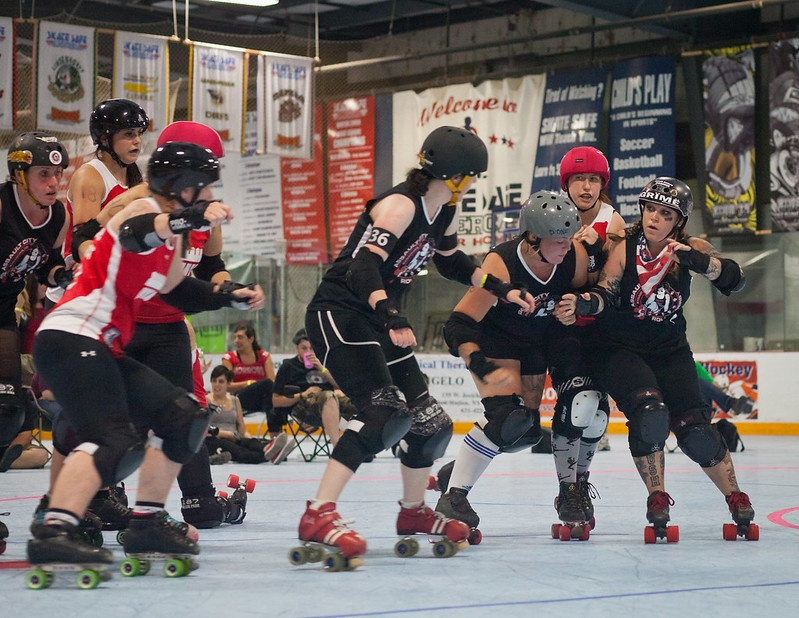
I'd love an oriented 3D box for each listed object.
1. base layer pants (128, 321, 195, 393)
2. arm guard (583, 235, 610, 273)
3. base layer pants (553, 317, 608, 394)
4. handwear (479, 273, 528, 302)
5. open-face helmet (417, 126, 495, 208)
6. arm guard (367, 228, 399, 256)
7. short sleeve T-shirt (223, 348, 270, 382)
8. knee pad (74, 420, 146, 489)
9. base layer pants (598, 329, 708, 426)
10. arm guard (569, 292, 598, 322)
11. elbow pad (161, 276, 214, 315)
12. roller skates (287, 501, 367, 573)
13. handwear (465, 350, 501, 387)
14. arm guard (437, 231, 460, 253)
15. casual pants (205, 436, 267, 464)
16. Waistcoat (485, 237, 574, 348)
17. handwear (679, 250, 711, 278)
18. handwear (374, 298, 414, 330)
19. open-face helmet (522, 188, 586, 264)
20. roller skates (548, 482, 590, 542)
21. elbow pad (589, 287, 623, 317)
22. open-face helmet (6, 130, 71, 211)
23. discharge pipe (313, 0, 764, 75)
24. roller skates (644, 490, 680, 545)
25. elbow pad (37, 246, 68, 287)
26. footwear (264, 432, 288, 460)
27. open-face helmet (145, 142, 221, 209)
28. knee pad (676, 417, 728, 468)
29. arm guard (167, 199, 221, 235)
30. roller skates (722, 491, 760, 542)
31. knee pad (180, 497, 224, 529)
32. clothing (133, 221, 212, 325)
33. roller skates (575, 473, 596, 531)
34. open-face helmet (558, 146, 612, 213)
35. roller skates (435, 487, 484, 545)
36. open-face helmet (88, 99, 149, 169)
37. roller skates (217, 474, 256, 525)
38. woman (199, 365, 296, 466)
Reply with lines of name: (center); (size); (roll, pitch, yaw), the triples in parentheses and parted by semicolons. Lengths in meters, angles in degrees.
base layer pants: (-1.420, 0.290, 6.870); (0.385, 0.508, 0.207); (-18, -31, 8)
arm guard: (1.286, -0.352, 7.546); (0.177, 0.221, 0.111); (-7, 15, -34)
base layer pants: (1.140, 0.300, 7.518); (0.380, 0.423, 0.205); (6, -12, -44)
handwear: (0.650, -0.126, 7.123); (0.151, 0.245, 0.102); (-48, -6, 40)
open-face helmet: (0.331, -0.846, 6.799); (0.486, 0.458, 0.361); (-4, 13, -7)
arm guard: (-0.092, -0.387, 6.675); (0.165, 0.102, 0.162); (27, 5, 28)
short sleeve T-shirt: (-1.863, 0.723, 14.092); (0.639, 0.544, 0.333); (1, -9, -16)
knee pad: (-1.507, 0.724, 6.002); (0.362, 0.336, 0.160); (-4, 7, -8)
base layer pants: (1.732, 0.498, 7.464); (0.483, 0.303, 0.806); (-13, 31, 41)
arm guard: (1.145, -0.022, 7.227); (0.150, 0.186, 0.101); (1, 8, -24)
elbow pad: (-1.209, -0.062, 6.521); (0.263, 0.105, 0.190); (10, 21, 5)
roller skates: (-0.379, 1.259, 6.468); (0.486, 0.334, 0.248); (-1, -9, 40)
handwear: (0.507, 0.340, 7.163); (0.088, 0.139, 0.222); (-37, -15, 2)
arm guard: (0.312, -0.417, 7.229); (0.118, 0.117, 0.116); (-1, -7, 15)
casual pants: (-1.774, 1.490, 12.423); (0.634, 0.183, 0.362); (11, -3, -39)
Waistcoat: (0.826, -0.114, 7.340); (0.560, 0.591, 0.347); (14, 20, -45)
handwear: (1.843, -0.297, 7.223); (0.197, 0.085, 0.145); (29, -7, -35)
handwear: (-0.047, 0.024, 6.522); (0.184, 0.157, 0.299); (0, 4, -2)
open-face helmet: (0.970, -0.503, 7.296); (0.460, 0.422, 0.358); (10, 24, 33)
roller skates: (1.116, 1.273, 7.363); (0.270, 0.304, 0.363); (1, 4, 9)
elbow pad: (1.318, -0.046, 7.294); (0.168, 0.101, 0.207); (10, 4, 36)
open-face helmet: (-2.292, -0.884, 7.351); (0.464, 0.482, 0.386); (-1, -2, 15)
discharge pipe: (2.223, -4.197, 17.899); (7.208, 0.774, 1.994); (3, 5, 34)
roller skates: (1.674, 1.292, 7.356); (0.216, 0.300, 0.519); (-3, -1, 13)
elbow pad: (-2.200, -0.295, 7.382); (0.189, 0.123, 0.327); (-16, 37, -30)
footwear: (-1.339, 1.481, 12.404); (0.304, 0.329, 0.206); (2, 4, 15)
open-face helmet: (-1.228, -0.752, 6.387); (0.441, 0.377, 0.327); (-8, 32, -34)
knee pad: (1.935, 0.849, 7.367); (0.270, 0.180, 0.337); (0, 17, -3)
arm guard: (-1.085, -0.464, 6.010); (0.223, 0.097, 0.167); (-19, -1, 14)
roller skates: (2.204, 1.328, 7.416); (0.206, 0.325, 0.551); (-1, -10, 3)
knee pad: (-1.301, 1.312, 7.547); (0.153, 0.137, 0.319); (0, -1, 18)
clothing: (-1.289, -0.203, 6.413); (0.467, 0.571, 0.320); (10, -14, 14)
roller skates: (1.233, 1.239, 7.526); (0.130, 0.342, 0.160); (-7, -36, 5)
open-face helmet: (1.242, -0.902, 7.907); (0.329, 0.405, 0.418); (1, -11, -13)
roller skates: (0.388, 1.264, 7.221); (0.163, 0.256, 0.447); (3, 4, -43)
open-face helmet: (-1.805, -1.090, 7.203); (0.404, 0.413, 0.333); (-4, 2, 14)
roller skates: (-1.151, 1.301, 7.937); (0.238, 0.125, 0.338); (5, 3, 1)
woman: (-1.778, 1.157, 12.635); (0.832, 1.026, 1.466); (-1, -3, -37)
